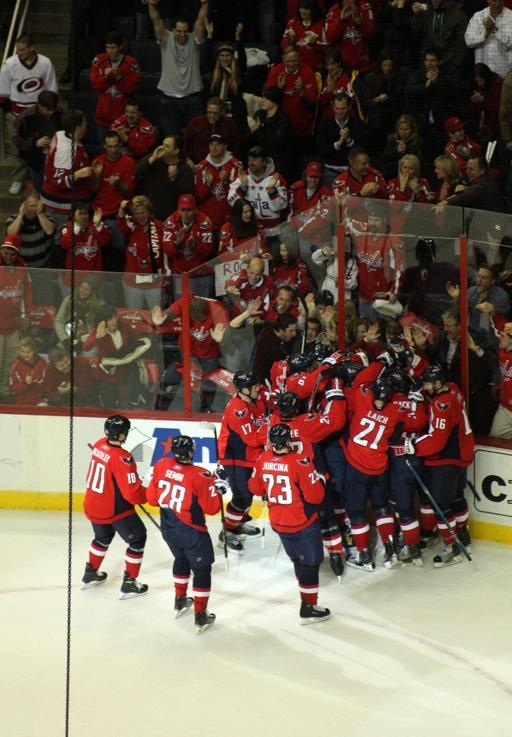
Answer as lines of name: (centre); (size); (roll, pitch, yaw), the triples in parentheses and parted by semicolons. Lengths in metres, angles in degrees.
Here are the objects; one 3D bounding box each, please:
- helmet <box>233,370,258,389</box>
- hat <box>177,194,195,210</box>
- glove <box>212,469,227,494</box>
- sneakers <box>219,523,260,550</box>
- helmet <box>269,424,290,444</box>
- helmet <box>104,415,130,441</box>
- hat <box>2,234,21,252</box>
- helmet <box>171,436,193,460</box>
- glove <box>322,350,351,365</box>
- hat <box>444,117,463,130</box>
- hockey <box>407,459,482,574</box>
helmet: (-0.068, 0.082, 4.521); (0.132, 0.114, 0.102); (16, 46, 19)
hat: (-0.559, -1.360, 5.643); (0.103, 0.079, 0.153); (3, 19, 4)
glove: (-0.210, 0.649, 3.919); (0.050, 0.125, 0.079); (-33, -23, 21)
sneakers: (-0.119, 1.215, 4.936); (0.389, 0.158, 0.126); (-8, 54, -9)
helmet: (0.136, 0.360, 3.779); (0.086, 0.109, 0.105); (5, -1, 25)
helmet: (-0.848, 0.357, 4.163); (0.124, 0.153, 0.157); (9, 19, 22)
hat: (-1.989, -1.035, 5.638); (0.118, 0.113, 0.183); (17, 8, -22)
helmet: (-0.395, 0.414, 3.768); (0.103, 0.131, 0.130); (6, 33, 5)
glove: (0.551, -0.066, 4.704); (0.097, 0.045, 0.155); (18, 34, 39)
hat: (1.794, -2.216, 6.257); (0.149, 0.077, 0.112); (-13, 22, 26)
hockey: (1.205, 0.936, 4.507); (0.404, 0.692, 0.267); (1, 7, 17)
